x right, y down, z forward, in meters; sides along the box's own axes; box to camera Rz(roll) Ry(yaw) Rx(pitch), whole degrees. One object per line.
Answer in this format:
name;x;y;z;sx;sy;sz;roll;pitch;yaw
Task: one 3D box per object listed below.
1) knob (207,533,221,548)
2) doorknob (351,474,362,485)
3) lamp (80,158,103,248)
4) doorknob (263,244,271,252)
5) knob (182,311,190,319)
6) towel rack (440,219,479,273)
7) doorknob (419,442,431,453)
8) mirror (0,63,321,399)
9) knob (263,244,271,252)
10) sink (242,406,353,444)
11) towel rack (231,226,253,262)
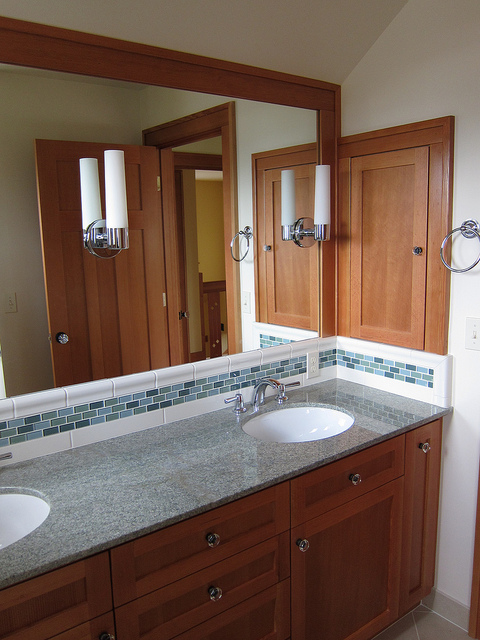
knob;-0.065;0.538;1.230;0.035;0.036;0.012;-14;12;-29
doorknob;0.360;0.495;1.562;0.023;0.030;0.015;-22;23;-21
lamp;-0.438;-0.347;1.481;0.063;0.250;0.025;-7;9;-20
doorknob;0.103;-0.284;1.981;0.023;0.023;0.025;3;4;13
knob;-0.186;-0.016;1.730;0.022;0.017;0.020;6;9;34
towel rack;0.759;-0.249;1.698;0.120;0.165;0.033;-1;0;42
doorknob;0.659;0.453;1.797;0.044;0.030;0.015;11;1;-36
mirror;-0.276;-0.303;1.623;1.165;0.997;0.100;-5;8;-38
knob;0.104;-0.283;1.982;0.019;0.027;0.009;-3;12;-19
sink;0.200;0.386;1.822;0.387;0.122;0.151;-5;9;-6
towel rack;-0.003;-0.283;1.885;0.075;0.126;0.029;13;6;7
